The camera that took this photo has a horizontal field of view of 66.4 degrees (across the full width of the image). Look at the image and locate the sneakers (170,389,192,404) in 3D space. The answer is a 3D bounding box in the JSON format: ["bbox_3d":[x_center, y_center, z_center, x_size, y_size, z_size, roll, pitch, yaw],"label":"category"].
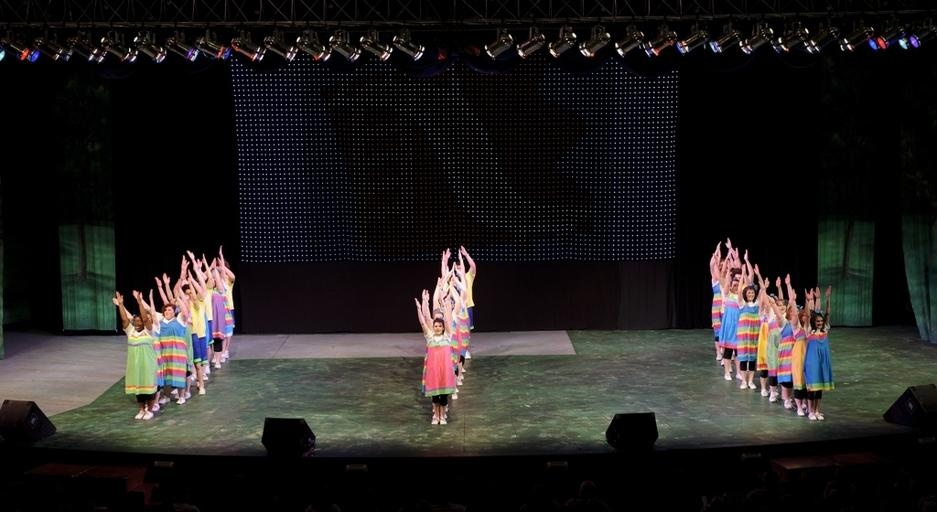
[{"bbox_3d":[-5.014,2.432,12.483,0.183,0.201,0.502,1,-10,-12],"label":"sneakers"}]

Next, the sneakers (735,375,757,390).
[{"bbox_3d":[4.946,2.261,12.718,0.163,0.177,0.449,-3,-12,10],"label":"sneakers"}]

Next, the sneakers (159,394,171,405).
[{"bbox_3d":[-5.199,2.454,12.273,0.095,0.078,0.211,9,-8,4],"label":"sneakers"}]
